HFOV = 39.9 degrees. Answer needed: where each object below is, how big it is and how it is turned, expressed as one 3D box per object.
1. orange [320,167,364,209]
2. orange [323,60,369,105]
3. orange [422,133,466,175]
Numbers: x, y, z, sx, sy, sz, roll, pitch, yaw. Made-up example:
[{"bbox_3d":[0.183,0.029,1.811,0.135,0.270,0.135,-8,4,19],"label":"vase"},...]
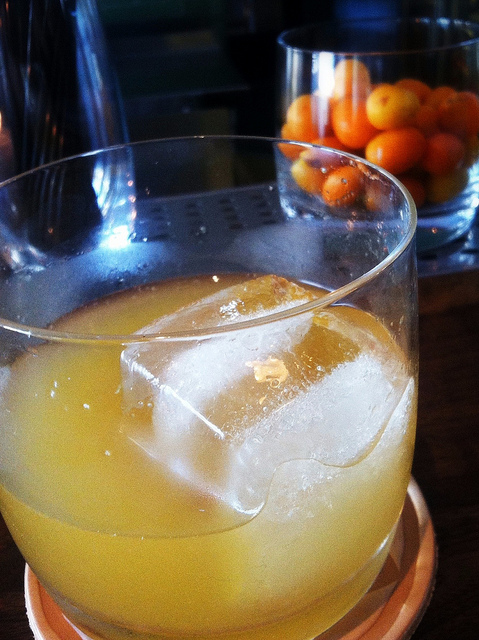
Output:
[{"bbox_3d":[0.057,-0.071,0.361,0.020,0.018,0.023,5,-14,9],"label":"orange"},{"bbox_3d":[0.102,-0.244,0.665,0.050,0.045,0.047,4,25,13],"label":"orange"},{"bbox_3d":[0.208,-0.168,0.664,0.036,0.036,0.049,12,20,23],"label":"orange"}]
